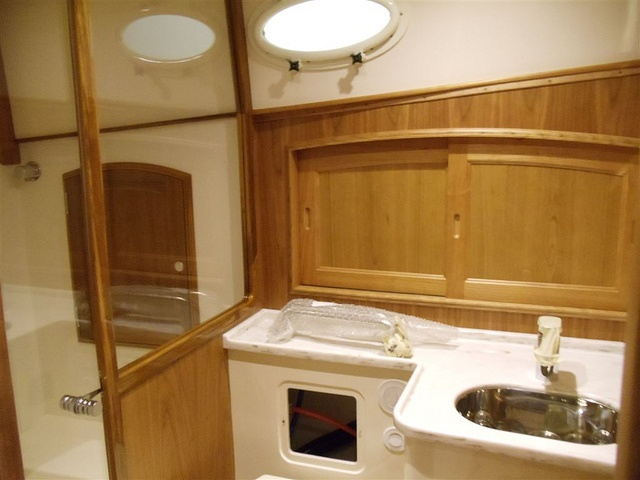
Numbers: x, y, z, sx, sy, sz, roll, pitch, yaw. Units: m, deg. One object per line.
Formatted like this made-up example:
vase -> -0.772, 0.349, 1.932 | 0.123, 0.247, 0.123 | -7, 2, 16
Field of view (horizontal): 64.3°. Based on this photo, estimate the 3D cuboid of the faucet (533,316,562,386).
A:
faucet -> 0.841, 0.397, 1.881 | 0.078, 0.189, 0.071 | 6, 3, 8
